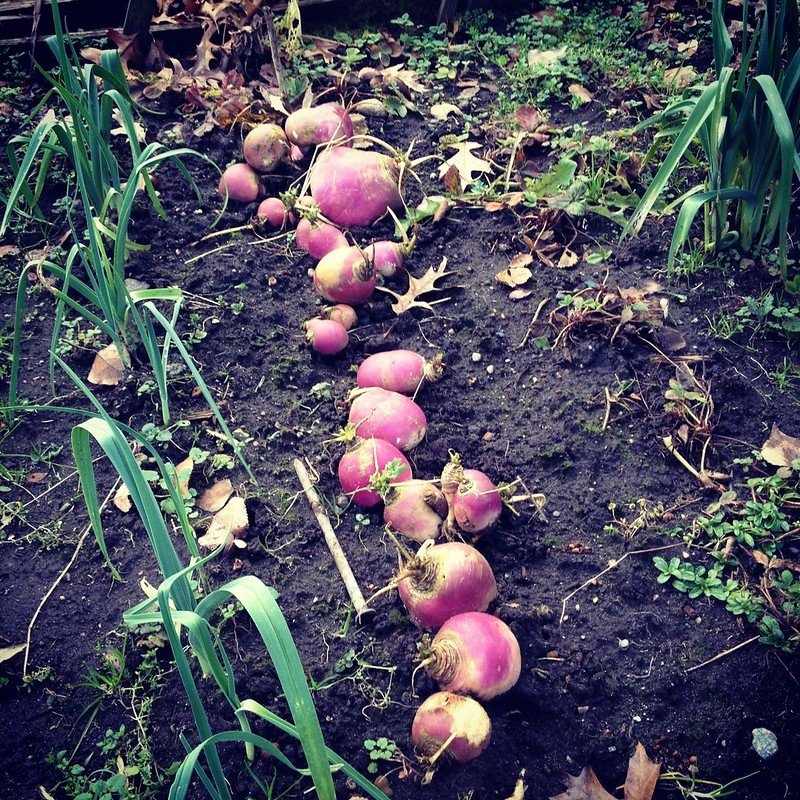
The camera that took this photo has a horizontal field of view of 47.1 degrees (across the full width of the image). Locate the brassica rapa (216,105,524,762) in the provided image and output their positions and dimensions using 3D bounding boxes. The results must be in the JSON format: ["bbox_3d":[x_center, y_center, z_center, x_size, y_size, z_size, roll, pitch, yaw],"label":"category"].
[{"bbox_3d":[-0.017,0.219,3.082,0.406,0.414,1.788,-1,68,-43],"label":"brassica rapa"}]
